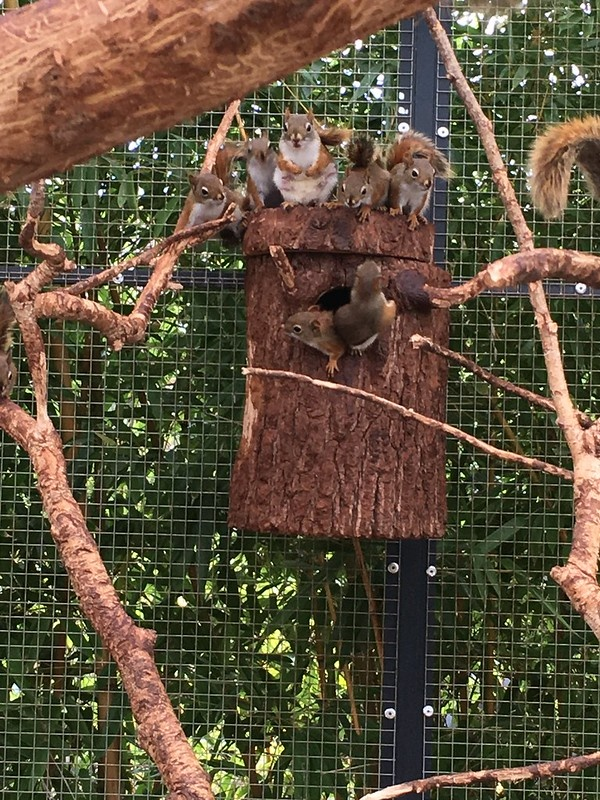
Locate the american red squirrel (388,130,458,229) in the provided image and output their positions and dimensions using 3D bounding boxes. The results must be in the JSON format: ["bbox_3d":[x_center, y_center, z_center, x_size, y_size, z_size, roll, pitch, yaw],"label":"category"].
[{"bbox_3d":[0.269,-0.526,3.661,0.132,0.184,0.288,5,30,-3],"label":"american red squirrel"}]

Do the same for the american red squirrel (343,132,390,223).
[{"bbox_3d":[0.155,-0.531,3.594,0.103,0.189,0.272,2,18,14],"label":"american red squirrel"}]

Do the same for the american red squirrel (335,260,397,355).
[{"bbox_3d":[0.147,-0.199,3.432,0.136,0.214,0.127,-4,13,6],"label":"american red squirrel"}]

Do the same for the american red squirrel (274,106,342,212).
[{"bbox_3d":[0.012,-0.573,3.637,0.167,0.217,0.239,-2,-2,5],"label":"american red squirrel"}]

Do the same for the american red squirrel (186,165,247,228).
[{"bbox_3d":[-0.208,-0.463,3.721,0.129,0.146,0.178,-4,54,1],"label":"american red squirrel"}]

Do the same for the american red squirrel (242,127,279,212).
[{"bbox_3d":[-0.091,-0.552,3.725,0.074,0.200,0.104,-9,43,-6],"label":"american red squirrel"}]

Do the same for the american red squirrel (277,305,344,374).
[{"bbox_3d":[0.036,-0.119,3.453,0.130,0.155,0.122,-5,12,4],"label":"american red squirrel"}]
